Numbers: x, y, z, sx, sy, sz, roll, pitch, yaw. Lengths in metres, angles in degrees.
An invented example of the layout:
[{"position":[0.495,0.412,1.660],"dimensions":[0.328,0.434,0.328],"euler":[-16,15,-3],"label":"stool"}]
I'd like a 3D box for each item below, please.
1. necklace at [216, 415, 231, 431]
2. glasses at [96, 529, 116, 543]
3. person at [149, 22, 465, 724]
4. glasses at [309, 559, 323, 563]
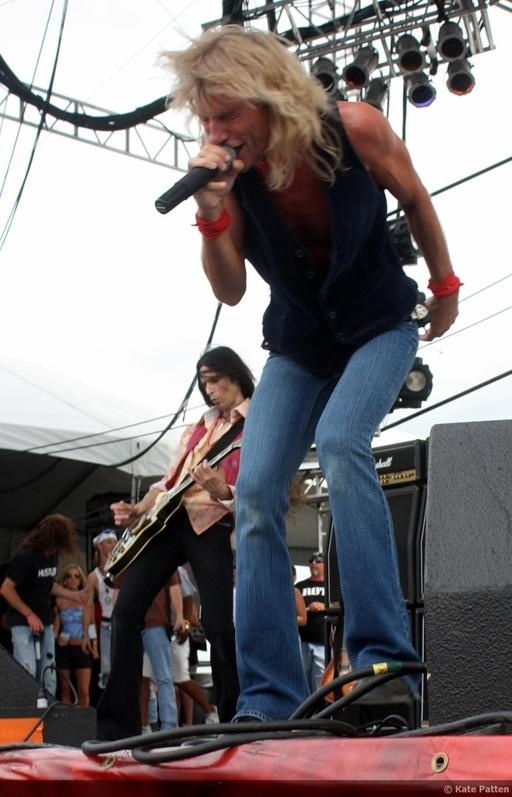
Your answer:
[{"position":[-0.117,0.091,3.197],"dimensions":[0.042,0.052,0.015],"euler":[-12,-39,32],"label":"necklace"},{"position":[-1.144,1.056,6.706],"dimensions":[0.107,0.077,0.133],"euler":[-3,-18,-29],"label":"glasses"},{"position":[0.113,-0.065,1.746],"dimensions":[0.554,1.294,0.489],"euler":[2,-4,11],"label":"person"},{"position":[0.601,1.605,8.720],"dimensions":[0.072,0.023,0.073],"euler":[-1,-7,33],"label":"glasses"}]
